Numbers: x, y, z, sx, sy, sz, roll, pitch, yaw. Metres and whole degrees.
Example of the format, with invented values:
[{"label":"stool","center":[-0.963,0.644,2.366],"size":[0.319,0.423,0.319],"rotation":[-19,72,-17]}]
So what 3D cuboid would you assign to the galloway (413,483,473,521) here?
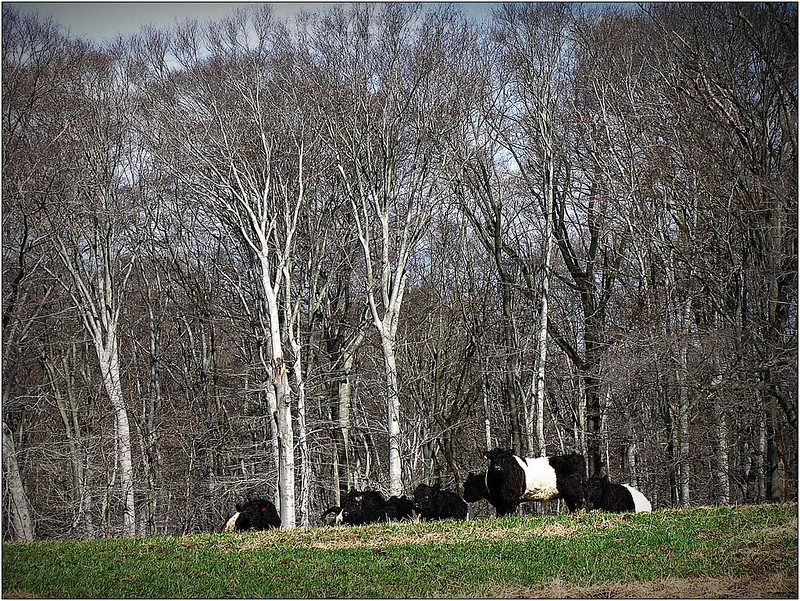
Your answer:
[{"label":"galloway","center":[1.167,6.030,39.608],"size":[1.567,1.105,0.864],"rotation":[-4,8,-10]}]

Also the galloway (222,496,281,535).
[{"label":"galloway","center":[-4.712,6.718,41.230],"size":[0.880,1.127,1.857],"rotation":[4,-12,-23]}]

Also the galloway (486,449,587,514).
[{"label":"galloway","center":[3.907,5.414,39.267],"size":[3.376,2.253,1.278],"rotation":[0,9,3]}]

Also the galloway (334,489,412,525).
[{"label":"galloway","center":[-0.858,6.189,39.728],"size":[2.383,1.344,0.955],"rotation":[2,-29,-8]}]

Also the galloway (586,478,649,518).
[{"label":"galloway","center":[6.504,5.829,38.848],"size":[1.406,0.661,1.084],"rotation":[-2,-6,35]}]
